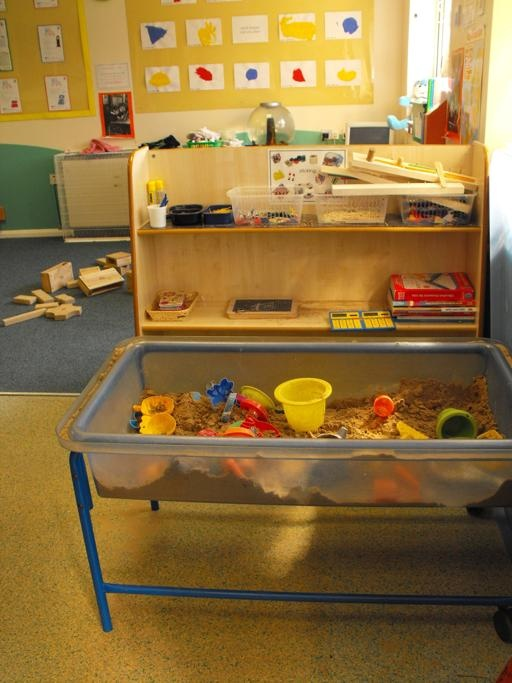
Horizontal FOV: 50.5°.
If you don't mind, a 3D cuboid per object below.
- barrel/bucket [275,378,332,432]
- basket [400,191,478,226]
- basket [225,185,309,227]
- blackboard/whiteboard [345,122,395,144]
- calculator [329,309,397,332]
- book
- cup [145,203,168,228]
[{"bbox_3d":[0.127,0.157,1.449,0.144,0.086,0.137,-9,25,4],"label":"barrel/bucket"},{"bbox_3d":[0.647,-0.472,1.945,0.191,0.062,0.124,1,25,10],"label":"basket"},{"bbox_3d":[0.032,-0.533,2.104,0.264,0.102,0.168,1,20,2],"label":"basket"},{"bbox_3d":[0.915,-1.703,4.449,0.355,0.157,0.839,0,22,9],"label":"blackboard/whiteboard"},{"bbox_3d":[0.396,-0.075,2.059,0.237,0.035,0.180,-2,22,5],"label":"calculator"},{"bbox_3d":[0.668,-0.172,2.083,0.298,0.130,0.292,1,23,11],"label":"book"},{"bbox_3d":[-0.375,-0.482,2.093,0.084,0.087,0.099,5,18,11],"label":"cup"}]
